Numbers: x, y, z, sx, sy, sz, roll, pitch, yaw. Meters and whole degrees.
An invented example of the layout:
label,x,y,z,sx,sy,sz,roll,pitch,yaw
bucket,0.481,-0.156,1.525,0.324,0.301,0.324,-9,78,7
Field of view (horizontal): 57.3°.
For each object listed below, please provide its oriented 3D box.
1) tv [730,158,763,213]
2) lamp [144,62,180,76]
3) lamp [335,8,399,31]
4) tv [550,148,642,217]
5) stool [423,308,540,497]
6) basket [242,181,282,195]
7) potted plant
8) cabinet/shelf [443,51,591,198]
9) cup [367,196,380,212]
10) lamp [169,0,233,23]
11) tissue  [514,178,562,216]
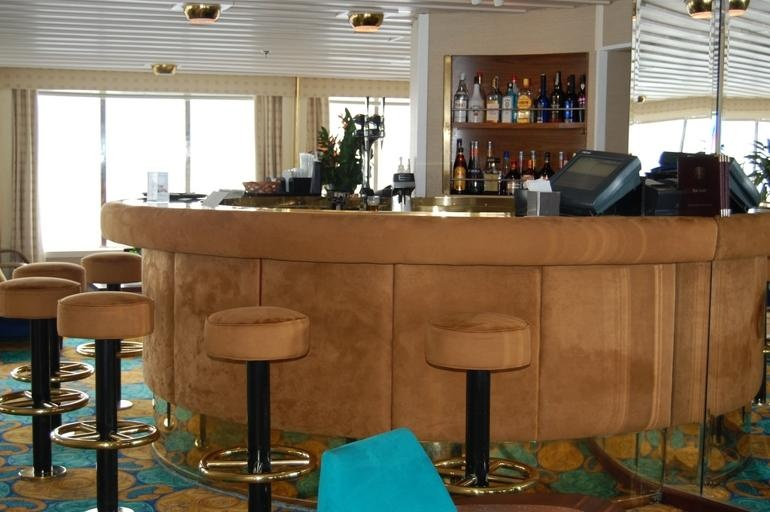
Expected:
label,x,y,z,sx,sy,sz,roll,pitch,yaw
tv,1.889,-0.370,3.719,0.095,0.283,0.396,5,8,43
lamp,-3.032,-2.577,9.691,0.332,0.117,0.231,-1,6,-5
lamp,-0.221,-2.203,6.680,0.459,0.202,0.629,0,6,1
tv,1.089,-0.357,3.804,0.399,0.411,0.429,-1,5,-25
stool,0.452,0.716,3.295,0.478,0.909,0.548,2,6,18
basket,-0.920,-0.516,5.300,0.294,0.094,0.226,-1,6,-5
potted plant,-0.321,-0.740,5.024,0.297,0.581,0.413,-1,6,-4
cabinet/shelf,1.142,-1.161,6.070,1.693,1.325,0.528,0,-1,3
cup,-0.080,-0.337,4.559,0.094,0.080,0.091,0,-6,0
lamp,-1.680,-2.216,6.497,0.528,0.179,0.569,-3,6,-20
tissue ,0.777,-0.300,3.611,0.175,0.225,0.238,-1,2,-35
